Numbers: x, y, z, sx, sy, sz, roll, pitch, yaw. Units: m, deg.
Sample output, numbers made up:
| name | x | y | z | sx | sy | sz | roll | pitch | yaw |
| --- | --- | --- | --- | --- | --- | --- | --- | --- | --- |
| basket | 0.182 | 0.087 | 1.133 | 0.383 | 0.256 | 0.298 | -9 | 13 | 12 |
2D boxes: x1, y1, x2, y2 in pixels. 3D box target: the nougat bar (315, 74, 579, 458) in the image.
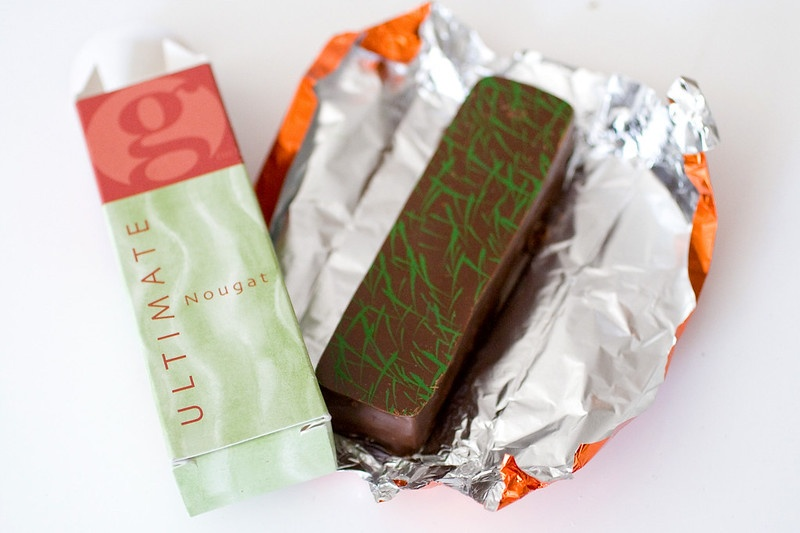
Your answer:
| name | x | y | z | sx | sy | sz | roll | pitch | yaw |
| --- | --- | --- | --- | --- | --- | --- | --- | --- | --- |
| nougat bar | 0.116 | -0.006 | 1.999 | 0.705 | 0.917 | 0.190 | -7 | 1 | -16 |

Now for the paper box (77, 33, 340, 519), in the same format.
| name | x | y | z | sx | sy | sz | roll | pitch | yaw |
| --- | --- | --- | --- | --- | --- | --- | --- | --- | --- |
| paper box | -0.464 | 0.024 | 2.023 | 0.401 | 1.291 | 0.299 | -16 | -3 | -6 |
